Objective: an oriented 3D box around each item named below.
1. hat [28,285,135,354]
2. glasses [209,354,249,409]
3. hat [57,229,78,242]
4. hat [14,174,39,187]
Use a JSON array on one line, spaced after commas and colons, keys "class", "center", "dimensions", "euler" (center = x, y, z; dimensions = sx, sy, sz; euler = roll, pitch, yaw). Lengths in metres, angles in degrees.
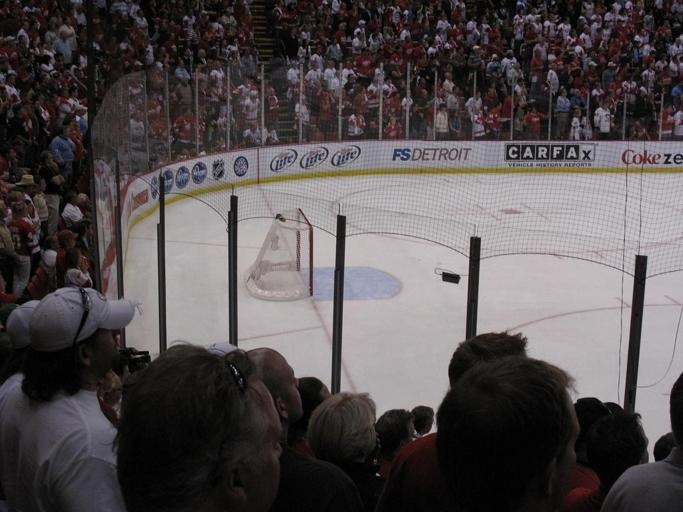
[{"class": "hat", "center": [-0.964, 0.238, 2.617], "dimensions": [0.318, 0.127, 0.200], "euler": [-14, 35, -30]}, {"class": "glasses", "center": [-0.284, 0.319, 1.750], "dimensions": [0.028, 0.110, 0.100], "euler": [-15, 43, -41]}, {"class": "hat", "center": [-3.033, -0.215, 7.743], "dimensions": [0.126, 0.123, 0.098], "euler": [-26, 32, -30]}, {"class": "hat", "center": [-3.971, -0.928, 8.739], "dimensions": [0.254, 0.106, 0.228], "euler": [6, 10, 23]}]
